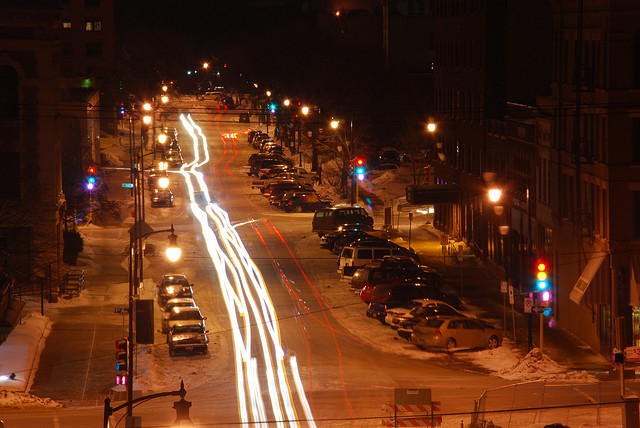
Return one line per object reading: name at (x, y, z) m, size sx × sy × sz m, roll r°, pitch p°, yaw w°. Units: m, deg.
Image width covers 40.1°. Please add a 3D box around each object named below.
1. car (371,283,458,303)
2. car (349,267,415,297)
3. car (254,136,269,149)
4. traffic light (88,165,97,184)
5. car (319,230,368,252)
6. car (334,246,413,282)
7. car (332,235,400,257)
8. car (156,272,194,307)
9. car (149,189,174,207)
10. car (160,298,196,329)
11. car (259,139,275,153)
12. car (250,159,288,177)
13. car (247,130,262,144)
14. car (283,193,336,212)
car at (5.478, 4.349, 49.123) m, size 4.628 × 1.313 × 2.497 m, roll -4°, pitch -6°, yaw 39°
car at (3.857, 4.074, 51.465) m, size 2.880 × 1.748 × 1.431 m, roll -6°, pitch -85°, yaw -23°
car at (-7.400, -9.002, 111.742) m, size 1.807 × 3.156 × 1.630 m, roll 0°, pitch -83°, yaw -3°
traffic light at (-17.977, -3.113, 69.521) m, size 0.534 × 2.004 × 0.552 m, roll -9°, pitch -27°, yaw 2°
car at (1.732, 2.067, 62.141) m, size 3.185 × 1.420 × 1.087 m, roll -4°, pitch -86°, yaw -21°
car at (3.228, 3.212, 55.556) m, size 3.834 × 2.174 × 1.888 m, roll -2°, pitch -87°, yaw -12°
car at (2.704, 2.202, 59.032) m, size 3.344 × 1.153 × 1.572 m, roll -2°, pitch -2°, yaw 11°
car at (-8.630, 4.591, 52.131) m, size 1.883 × 1.857 × 4.174 m, roll -1°, pitch -1°, yaw -13°
car at (-13.811, -1.262, 76.783) m, size 1.547 × 1.146 × 2.519 m, roll 0°, pitch -8°, yaw -11°
car at (-7.667, 5.366, 46.818) m, size 1.202 × 1.824 × 0.891 m, roll -1°, pitch -86°, yaw -14°
car at (-6.925, -8.617, 110.355) m, size 2.127 × 1.039 × 1.331 m, roll -4°, pitch -4°, yaw 36°
car at (-5.669, -4.845, 94.277) m, size 3.153 × 1.733 × 1.513 m, roll -3°, pitch -83°, yaw -13°
car at (-8.926, -10.464, 117.782) m, size 1.181 × 1.158 × 1.962 m, roll 0°, pitch -2°, yaw -11°
car at (-1.029, -0.831, 76.039) m, size 3.789 × 1.735 × 1.270 m, roll -2°, pitch -88°, yaw -3°
